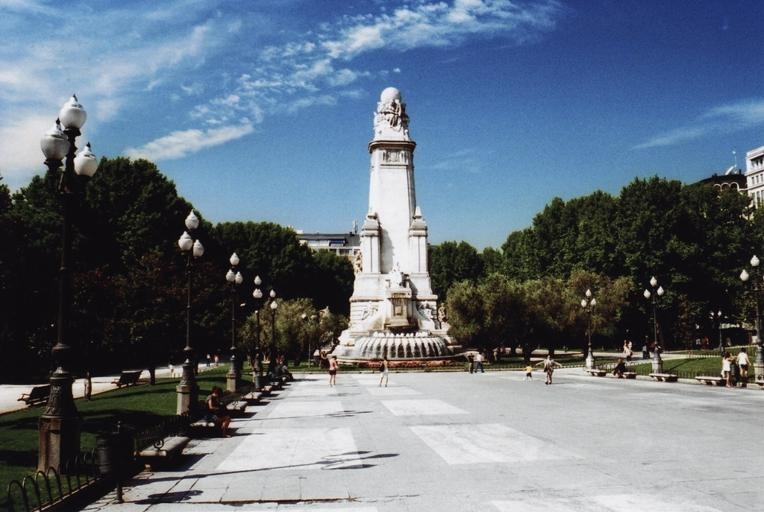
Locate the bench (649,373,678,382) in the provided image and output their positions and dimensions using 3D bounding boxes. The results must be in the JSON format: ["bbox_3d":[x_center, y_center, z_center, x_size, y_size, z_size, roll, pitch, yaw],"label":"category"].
[{"bbox_3d":[17.249,7.452,41.755,1.032,0.509,1.839,0,-10,-16],"label":"bench"}]

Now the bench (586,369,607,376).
[{"bbox_3d":[14.706,7.994,46.822,0.768,0.473,2.232,-3,-10,1],"label":"bench"}]

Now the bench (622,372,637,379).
[{"bbox_3d":[16.120,7.806,44.747,1.009,0.406,1.363,-6,-10,16],"label":"bench"}]

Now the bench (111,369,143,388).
[{"bbox_3d":[-16.349,7.722,43.102,1.541,0.992,1.430,-1,-5,26],"label":"bench"}]

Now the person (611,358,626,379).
[{"bbox_3d":[15.846,7.540,45.642,0.742,1.113,2.046,-5,-10,16],"label":"person"}]

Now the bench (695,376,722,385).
[{"bbox_3d":[18.808,7.130,39.050,0.565,0.476,1.917,-1,-10,-15],"label":"bench"}]
